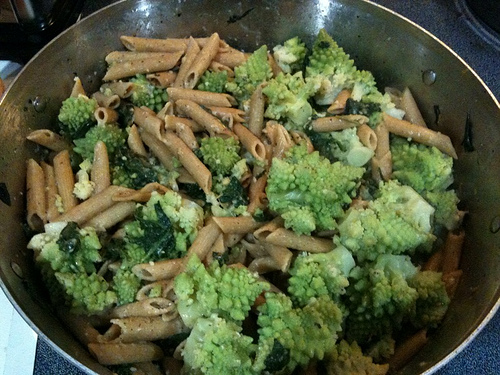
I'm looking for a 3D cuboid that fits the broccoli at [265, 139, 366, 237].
[{"bbox_3d":[0.378,0.017,3.198,0.567,0.229,0.585,25,82,3],"label":"broccoli"}]

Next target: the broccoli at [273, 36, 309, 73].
[{"bbox_3d":[0.296,-0.975,3.592,0.235,0.138,0.305,-2,62,1],"label":"broccoli"}]

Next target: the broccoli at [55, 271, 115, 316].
[{"bbox_3d":[-1.012,0.609,3.134,0.287,0.222,0.164,-8,87,31],"label":"broccoli"}]

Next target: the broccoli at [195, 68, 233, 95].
[{"bbox_3d":[-0.265,-0.750,3.517,0.166,0.069,0.186,-7,95,-5],"label":"broccoli"}]

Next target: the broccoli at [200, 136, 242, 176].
[{"bbox_3d":[-0.199,-0.223,3.358,0.269,0.182,0.274,6,82,1],"label":"broccoli"}]

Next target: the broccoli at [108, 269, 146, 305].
[{"bbox_3d":[-0.818,0.579,3.196,0.089,0.195,0.187,37,113,-13],"label":"broccoli"}]

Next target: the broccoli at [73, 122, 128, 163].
[{"bbox_3d":[-1.019,-0.282,3.455,0.271,0.132,0.288,-19,33,7],"label":"broccoli"}]

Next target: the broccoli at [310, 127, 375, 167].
[{"bbox_3d":[0.636,-0.280,3.414,0.299,0.295,0.143,41,39,1],"label":"broccoli"}]

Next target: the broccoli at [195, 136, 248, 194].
[{"bbox_3d":[-0.177,-0.187,3.243,0.345,0.159,0.371,-24,78,-3],"label":"broccoli"}]

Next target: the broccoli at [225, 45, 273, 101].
[{"bbox_3d":[0.007,-0.801,3.548,0.401,0.161,0.238,-43,84,-6],"label":"broccoli"}]

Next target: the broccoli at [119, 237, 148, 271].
[{"bbox_3d":[-0.759,0.426,3.260,0.159,0.075,0.176,-20,88,-2],"label":"broccoli"}]

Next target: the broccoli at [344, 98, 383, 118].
[{"bbox_3d":[0.800,-0.559,3.506,0.262,0.043,0.120,10,82,1],"label":"broccoli"}]

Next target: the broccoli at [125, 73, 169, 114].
[{"bbox_3d":[-0.723,-0.661,3.487,0.266,0.114,0.277,-36,114,-5],"label":"broccoli"}]

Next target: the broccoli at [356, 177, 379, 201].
[{"bbox_3d":[0.804,0.009,3.400,0.117,0.047,0.173,6,75,2],"label":"broccoli"}]

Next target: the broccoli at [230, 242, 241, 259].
[{"bbox_3d":[-0.093,0.423,3.313,0.055,0.022,0.079,0,79,17],"label":"broccoli"}]

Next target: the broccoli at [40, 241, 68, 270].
[{"bbox_3d":[-1.211,0.411,3.078,0.133,0.055,0.169,-43,77,10],"label":"broccoli"}]

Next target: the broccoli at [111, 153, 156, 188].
[{"bbox_3d":[-0.800,-0.108,3.337,0.228,0.070,0.235,39,88,-5],"label":"broccoli"}]
